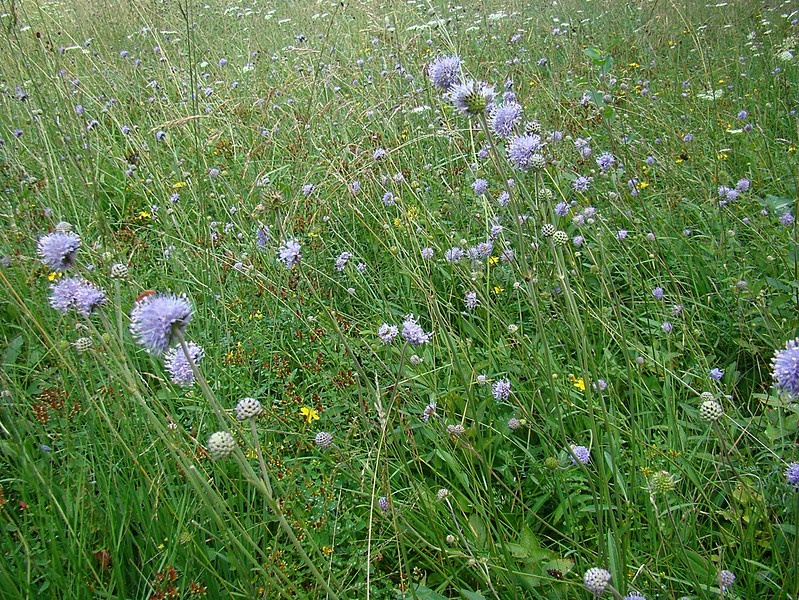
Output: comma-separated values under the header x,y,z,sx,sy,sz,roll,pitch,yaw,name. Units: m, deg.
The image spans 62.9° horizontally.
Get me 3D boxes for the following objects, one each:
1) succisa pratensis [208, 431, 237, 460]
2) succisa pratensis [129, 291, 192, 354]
x,y,z,sx,sy,sz,roll,pitch,yaw,name
-0.698,0.567,2.614,0.099,0.134,0.113,-2,-3,-1,succisa pratensis
-1.033,0.101,2.822,0.203,0.230,0.219,-31,27,-3,succisa pratensis
